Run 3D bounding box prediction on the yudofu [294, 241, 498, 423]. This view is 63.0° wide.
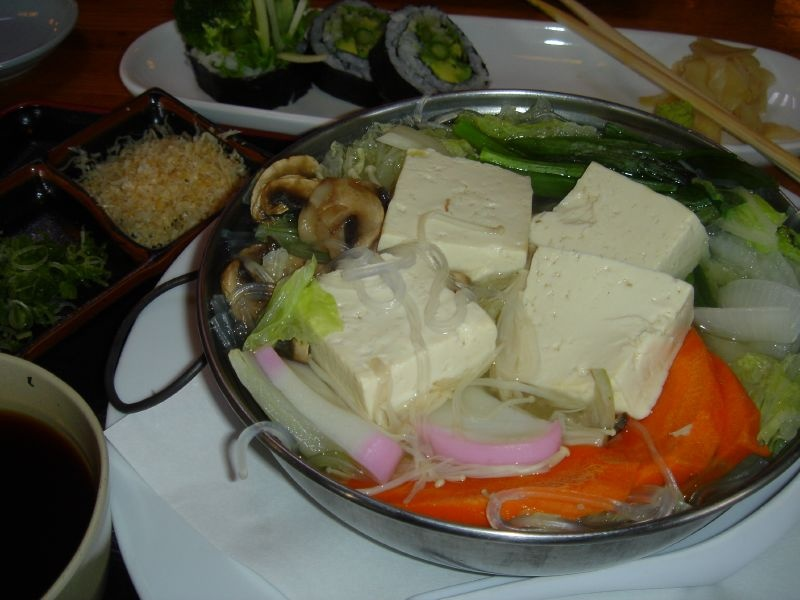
[{"bbox_3d":[-0.021,0.107,1.528,0.397,0.158,0.383,-30,69,-21],"label":"yudofu"}]
